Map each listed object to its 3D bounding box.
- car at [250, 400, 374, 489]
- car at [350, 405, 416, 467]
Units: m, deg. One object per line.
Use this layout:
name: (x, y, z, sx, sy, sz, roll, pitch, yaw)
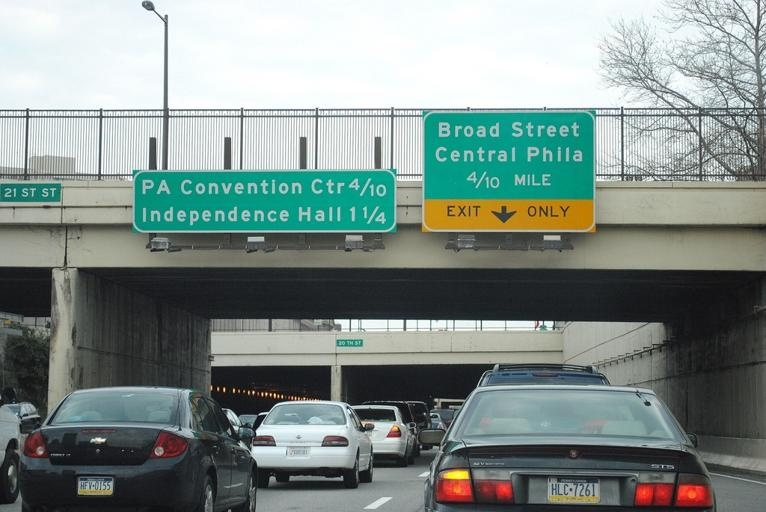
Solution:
car: (-2.158, 5.400, 40.991, 3.359, 2.503, 1.872, 2, -8, -7)
car: (0.126, 6.046, 48.599, 1.834, 1.925, 4.648, -1, -8, 5)
